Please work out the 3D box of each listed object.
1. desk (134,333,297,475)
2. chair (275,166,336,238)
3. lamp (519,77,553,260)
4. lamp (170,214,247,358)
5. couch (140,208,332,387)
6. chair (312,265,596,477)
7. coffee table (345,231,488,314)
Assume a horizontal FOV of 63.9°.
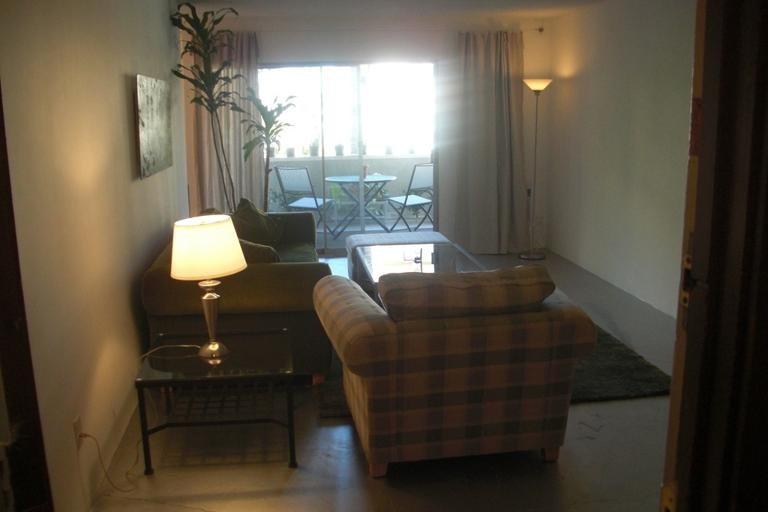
[{"bbox_3d":[-0.888,0.792,3.337,0.821,0.588,0.601,-8,14,-10],"label":"desk"},{"bbox_3d":[-0.922,-0.645,7.146,0.498,0.814,0.625,-4,3,-44],"label":"chair"},{"bbox_3d":[1.721,-0.996,6.936,0.390,1.968,0.755,-1,14,16],"label":"lamp"},{"bbox_3d":[-0.996,0.198,3.479,0.451,0.884,0.445,1,25,-1],"label":"lamp"},{"bbox_3d":[-0.920,-0.197,3.909,1.085,1.100,1.587,-3,19,-9],"label":"couch"},{"bbox_3d":[0.364,0.455,3.372,1.343,1.027,0.989,-3,20,-9],"label":"chair"},{"bbox_3d":[0.168,-0.014,5.643,0.622,0.538,1.150,-3,19,-9],"label":"coffee table"}]
